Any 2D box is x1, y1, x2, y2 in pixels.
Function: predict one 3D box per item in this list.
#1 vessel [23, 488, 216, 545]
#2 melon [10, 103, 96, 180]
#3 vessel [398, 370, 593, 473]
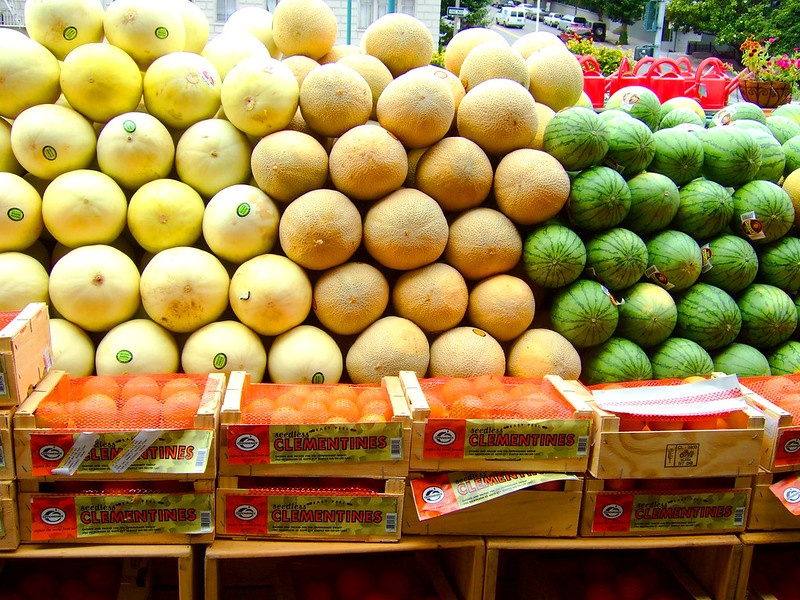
[{"bbox_3d":[-1.198,0.926,2.678,0.796,0.198,0.091,1,31,-4],"label":"vessel"},{"bbox_3d":[-1.947,-0.848,3.659,0.480,0.421,0.412,10,14,-14],"label":"melon"},{"bbox_3d":[0.428,0.553,2.934,0.826,0.292,0.474,-1,32,-6],"label":"vessel"}]
